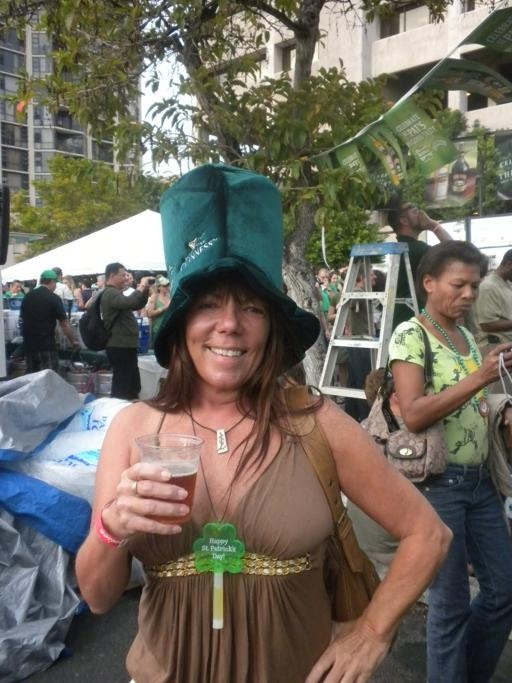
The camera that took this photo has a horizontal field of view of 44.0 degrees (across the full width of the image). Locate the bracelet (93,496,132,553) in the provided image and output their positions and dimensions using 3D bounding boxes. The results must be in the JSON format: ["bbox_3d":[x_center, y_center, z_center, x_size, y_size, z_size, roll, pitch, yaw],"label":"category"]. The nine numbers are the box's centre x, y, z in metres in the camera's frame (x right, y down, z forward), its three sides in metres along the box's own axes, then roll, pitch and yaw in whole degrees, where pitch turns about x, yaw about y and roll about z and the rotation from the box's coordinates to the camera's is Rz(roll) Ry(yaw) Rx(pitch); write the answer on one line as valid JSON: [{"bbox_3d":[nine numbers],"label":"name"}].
[{"bbox_3d":[-0.303,0.394,1.385,0.089,0.106,0.052,12,12,13],"label":"bracelet"}]

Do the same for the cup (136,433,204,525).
[{"bbox_3d":[-0.198,0.299,1.333,0.151,0.153,0.148,-2,-3,0],"label":"cup"}]

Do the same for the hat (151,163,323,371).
[{"bbox_3d":[-0.080,-0.226,1.678,0.396,0.431,0.379,-9,-34,6],"label":"hat"}]

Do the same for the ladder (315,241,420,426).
[{"bbox_3d":[1.178,-0.133,6.017,1.198,1.434,1.115,-8,9,-36],"label":"ladder"}]

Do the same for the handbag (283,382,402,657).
[{"bbox_3d":[0.184,0.421,1.533,0.176,0.554,0.343,-18,3,36],"label":"handbag"}]

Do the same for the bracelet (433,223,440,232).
[{"bbox_3d":[1.595,-1.012,5.686,0.022,0.070,0.075,15,-24,1],"label":"bracelet"}]

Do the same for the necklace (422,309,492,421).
[{"bbox_3d":[0.817,0.082,2.750,0.292,0.462,0.113,-4,-20,-32],"label":"necklace"}]

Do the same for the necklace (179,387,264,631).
[{"bbox_3d":[-0.108,0.469,1.482,0.104,0.344,0.192,-4,10,-35],"label":"necklace"}]
